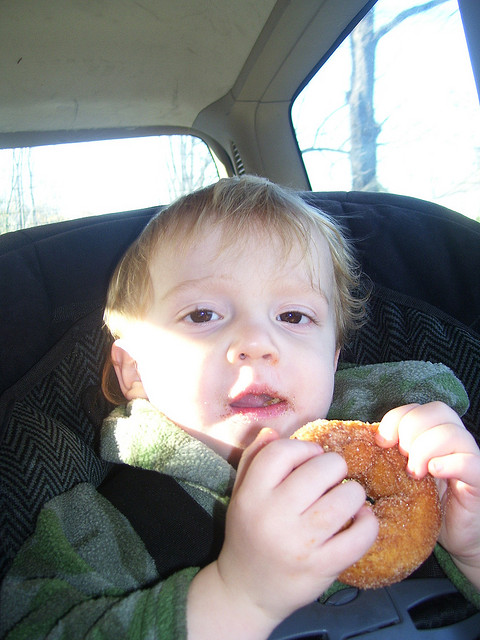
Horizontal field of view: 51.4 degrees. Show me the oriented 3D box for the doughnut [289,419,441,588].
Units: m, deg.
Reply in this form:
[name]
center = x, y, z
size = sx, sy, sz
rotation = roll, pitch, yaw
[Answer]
[doughnut]
center = 0.188, 0.272, 0.821
size = 0.245, 0.243, 0.083
rotation = -3, -15, -19
